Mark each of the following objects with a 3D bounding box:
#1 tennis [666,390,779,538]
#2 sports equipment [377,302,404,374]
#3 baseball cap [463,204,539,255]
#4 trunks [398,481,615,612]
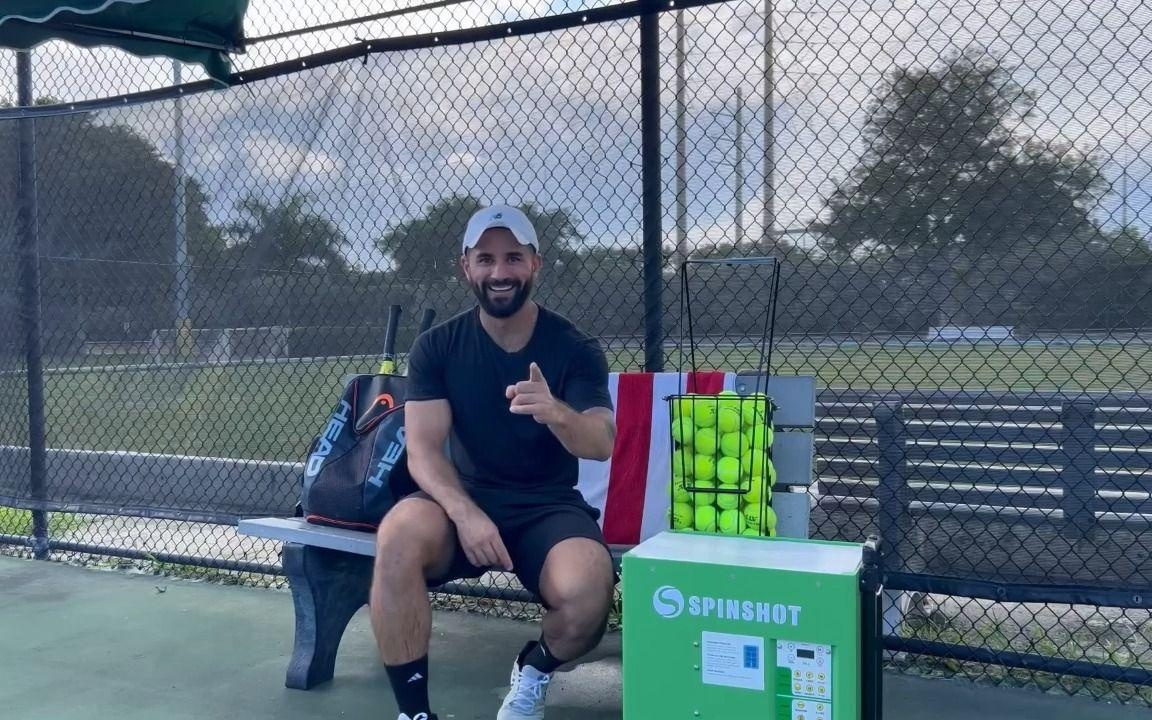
[{"bbox_3d":[0.724,0.503,5.806,0.634,0.930,0.642,-1,0,12],"label":"tennis"},{"bbox_3d":[-1.265,-0.178,7.901,0.107,0.538,0.093,3,-18,5],"label":"sports equipment"},{"bbox_3d":[-0.395,-0.671,6.179,0.301,0.273,0.418,1,0,-3],"label":"baseball cap"},{"bbox_3d":[-0.211,0.963,6.024,0.701,0.479,0.335,2,1,-7],"label":"trunks"}]
